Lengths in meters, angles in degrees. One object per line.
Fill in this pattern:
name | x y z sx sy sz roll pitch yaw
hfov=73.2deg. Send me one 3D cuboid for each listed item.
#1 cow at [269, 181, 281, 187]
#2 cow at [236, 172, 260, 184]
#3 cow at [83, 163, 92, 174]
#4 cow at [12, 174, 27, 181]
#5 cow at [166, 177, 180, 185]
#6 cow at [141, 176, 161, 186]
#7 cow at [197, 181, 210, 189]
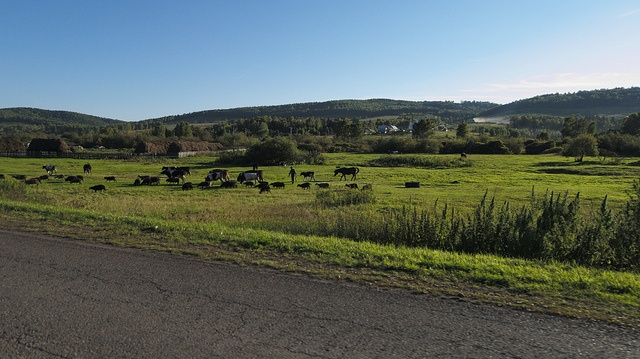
cow | -4.571 0.607 46.460 0.895 0.583 1.856 -2 4 -21
cow | -8.236 -0.161 50.562 2.565 1.302 2.009 -1 4 -17
cow | -30.444 -1.364 56.690 0.824 1.219 2.183 -2 5 -31
cow | -32.338 -0.204 46.501 0.602 0.705 1.938 -3 -5 23
cow | -16.455 0.173 48.623 1.266 0.794 1.494 -1 4 -17
cow | -18.651 0.120 47.540 1.222 0.903 1.998 2 4 23
cow | -12.465 0.540 46.347 1.220 0.614 1.204 0 4 -5
